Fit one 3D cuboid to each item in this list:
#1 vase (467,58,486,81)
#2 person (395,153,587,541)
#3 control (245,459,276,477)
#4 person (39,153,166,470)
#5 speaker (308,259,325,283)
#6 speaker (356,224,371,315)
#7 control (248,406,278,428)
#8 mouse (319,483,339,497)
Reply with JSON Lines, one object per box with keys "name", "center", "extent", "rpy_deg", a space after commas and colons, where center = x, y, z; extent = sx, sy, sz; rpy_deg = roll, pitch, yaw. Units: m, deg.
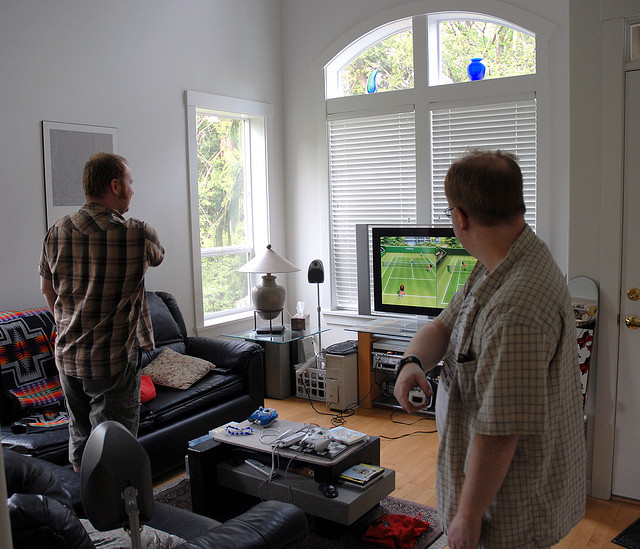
{"name": "vase", "center": [1.321, -1.726, 4.586], "extent": [0.164, 0.215, 0.173], "rpy_deg": [0, 3, 16]}
{"name": "person", "center": [0.476, 0.196, 1.357], "extent": [0.388, 0.995, 0.354], "rpy_deg": [1, 7, 23]}
{"name": "control", "center": [-0.326, 1.010, 2.819], "extent": [0.118, 0.017, 0.061], "rpy_deg": [22, 13, 29]}
{"name": "person", "center": [-1.060, 0.174, 2.629], "extent": [0.585, 1.505, 0.359], "rpy_deg": [-4, 7, -17]}
{"name": "speaker", "center": [-0.038, -0.025, 5.012], "extent": [0.124, 0.220, 0.238], "rpy_deg": [-2, 7, 3]}
{"name": "speaker", "center": [0.379, -0.040, 4.737], "extent": [0.104, 0.803, 0.109], "rpy_deg": [-1, 7, 6]}
{"name": "control", "center": [-0.317, 0.870, 3.226], "extent": [0.096, 0.048, 0.129], "rpy_deg": [4, 8, 30]}
{"name": "mouse", "center": [0.042, 1.039, 2.587], "extent": [0.070, 0.030, 0.111], "rpy_deg": [-7, 9, -34]}
